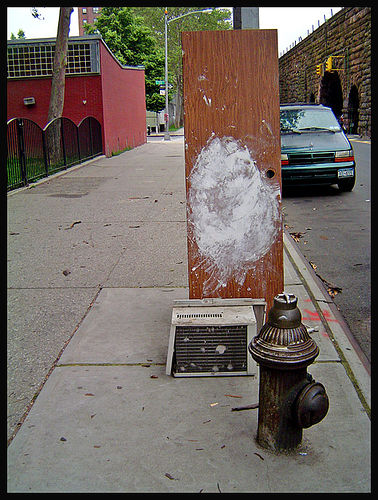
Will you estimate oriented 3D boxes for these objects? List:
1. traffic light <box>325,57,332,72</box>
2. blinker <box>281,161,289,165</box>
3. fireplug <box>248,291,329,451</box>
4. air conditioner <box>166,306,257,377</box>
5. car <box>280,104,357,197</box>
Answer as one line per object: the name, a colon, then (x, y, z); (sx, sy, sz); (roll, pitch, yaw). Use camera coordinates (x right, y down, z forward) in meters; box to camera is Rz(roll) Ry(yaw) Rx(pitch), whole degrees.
traffic light: (10.890, -14.509, 31.859); (0.389, 0.895, 1.191); (3, 12, 18)
blinker: (2.282, -2.078, 9.745); (0.166, 0.081, 0.057); (-4, 11, -17)
fireplug: (0.461, 0.575, 1.955); (0.327, 0.745, 0.301); (8, 14, 38)
air conditioner: (0.170, 0.579, 2.829); (0.600, 0.479, 0.435); (-4, 19, -4)
car: (3.286, -2.791, 11.940); (2.152, 2.577, 4.533); (-2, 7, 8)
